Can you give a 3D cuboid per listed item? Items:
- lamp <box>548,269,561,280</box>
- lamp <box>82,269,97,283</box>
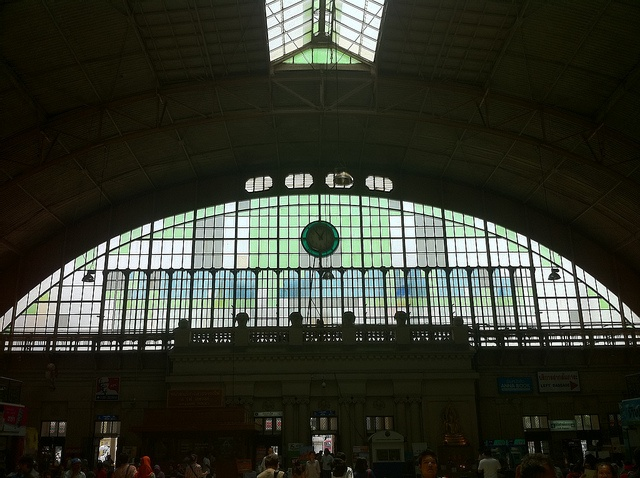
[{"bbox_3d":[15.432,2.377,35.825,0.659,0.736,0.586,-4,-38,22],"label":"lamp"},{"bbox_3d":[-15.302,2.473,36.159,1.086,1.020,0.259,2,-1,0],"label":"lamp"}]
